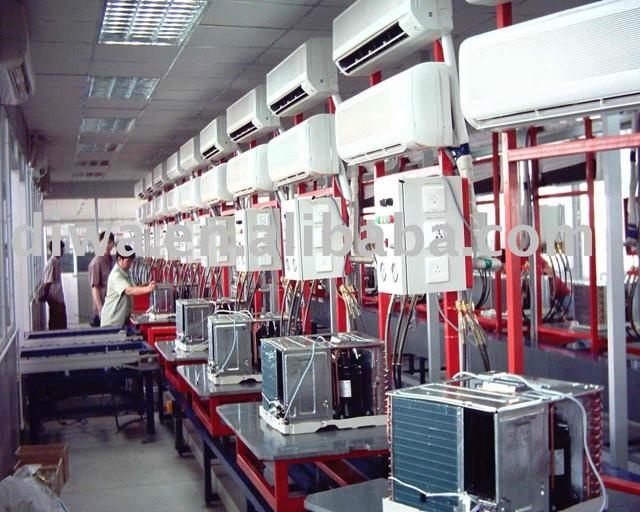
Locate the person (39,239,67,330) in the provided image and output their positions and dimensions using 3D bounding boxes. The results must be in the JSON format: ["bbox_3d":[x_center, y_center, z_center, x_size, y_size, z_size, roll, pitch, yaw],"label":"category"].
[{"bbox_3d":[-4.526,0.460,9.785,0.403,1.623,2.992,0,-3,-25],"label":"person"}]
